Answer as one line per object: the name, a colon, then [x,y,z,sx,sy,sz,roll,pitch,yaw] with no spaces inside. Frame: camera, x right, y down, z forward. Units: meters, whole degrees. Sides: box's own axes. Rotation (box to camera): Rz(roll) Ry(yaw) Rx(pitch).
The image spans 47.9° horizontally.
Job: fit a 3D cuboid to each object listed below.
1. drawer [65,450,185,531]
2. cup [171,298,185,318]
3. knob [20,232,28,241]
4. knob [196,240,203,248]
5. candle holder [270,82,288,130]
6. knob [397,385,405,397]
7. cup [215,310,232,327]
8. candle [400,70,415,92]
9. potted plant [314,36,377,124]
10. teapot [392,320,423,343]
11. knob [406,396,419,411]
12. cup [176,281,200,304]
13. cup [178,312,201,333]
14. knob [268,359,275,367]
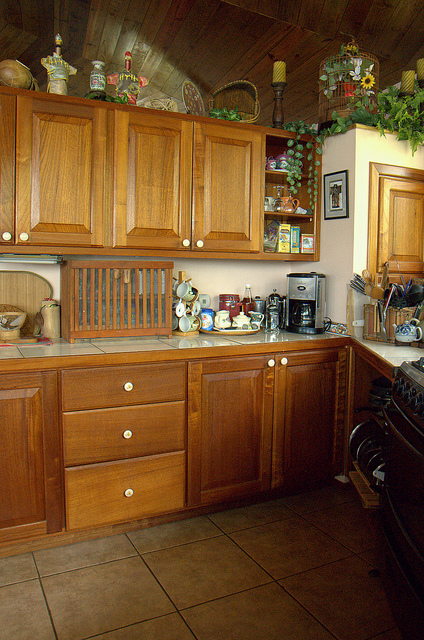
drawer: [-0.395,0.671,2.064,0.503,0.262,0.297,-1,9,-24]
cup: [-0.161,-0.061,2.359,0.056,0.090,0.035,5,6,-21]
knob: [-0.778,-0.346,1.979,0.029,0.034,0.009,-1,3,-24]
knob: [-0.059,-0.377,2.357,0.038,0.037,0.015,-3,4,-43]
candle holder: [0.368,-1.174,2.644,0.079,0.291,0.228,1,3,7]
knob: [0.533,0.206,1.359,0.019,0.027,0.027,0,0,0]
cup: [0.068,-0.007,2.634,0.072,0.090,0.125,1,3,19]
candle: [1.037,-1.260,2.542,0.068,0.141,0.118,1,3,20]
potted plant: [0.718,-1.249,2.589,0.320,0.402,0.240,2,3,24]
teapot: [0.848,0.055,2.068,0.105,0.084,0.071,0,5,38]
knob: [0.506,0.211,1.207,0.021,0.024,0.028,0,1,1]
cup: [-0.123,-0.143,2.426,0.047,0.109,0.121,3,4,39]
cup: [-0.109,0.015,2.422,0.076,0.065,0.092,-1,8,-8]
knob: [0.276,0.198,2.207,0.043,0.033,0.011,-3,4,-40]
